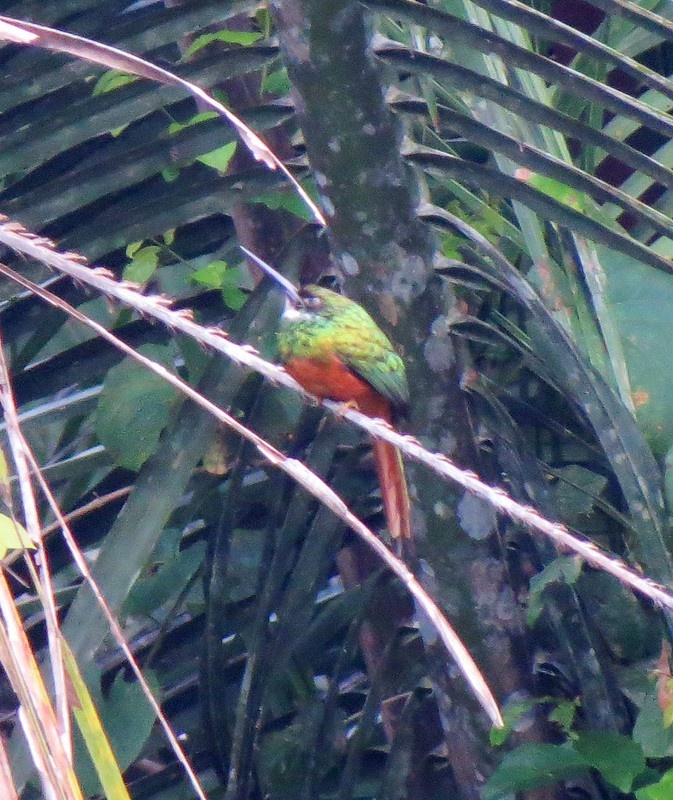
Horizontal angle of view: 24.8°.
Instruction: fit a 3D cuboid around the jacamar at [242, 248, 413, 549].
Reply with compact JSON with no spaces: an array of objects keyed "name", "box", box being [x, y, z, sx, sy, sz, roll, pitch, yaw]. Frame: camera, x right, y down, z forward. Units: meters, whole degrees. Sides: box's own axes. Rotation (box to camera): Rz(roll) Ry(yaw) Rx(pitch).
[{"name":"jacamar","box":[-0.012,0.003,2.169,0.094,0.435,0.136,-15,20,38]}]
